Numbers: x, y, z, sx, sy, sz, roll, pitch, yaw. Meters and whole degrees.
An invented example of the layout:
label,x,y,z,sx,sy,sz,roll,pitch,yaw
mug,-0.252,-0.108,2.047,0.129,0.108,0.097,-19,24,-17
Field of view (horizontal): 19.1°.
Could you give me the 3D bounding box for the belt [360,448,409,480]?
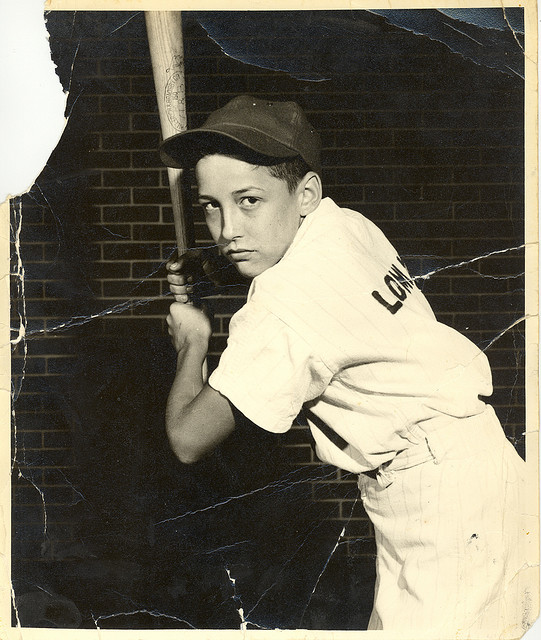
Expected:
label,x,y,z,sx,sy,sz,roll,pitch,yaw
belt,0.396,0.507,5.544,0.129,0.047,0.098,-34,-1,3
